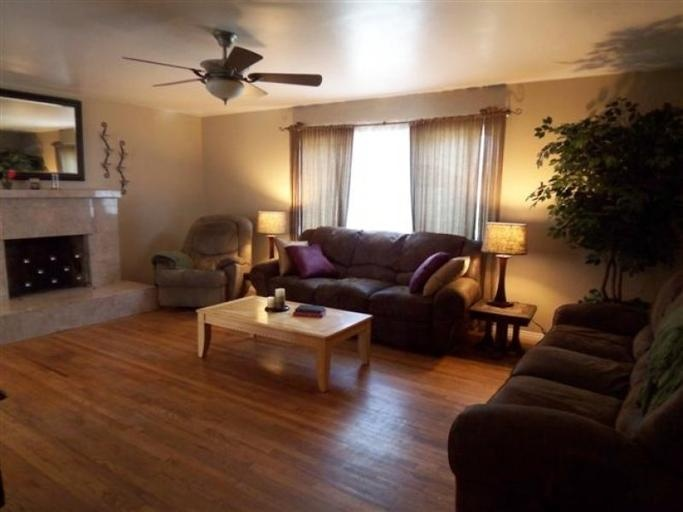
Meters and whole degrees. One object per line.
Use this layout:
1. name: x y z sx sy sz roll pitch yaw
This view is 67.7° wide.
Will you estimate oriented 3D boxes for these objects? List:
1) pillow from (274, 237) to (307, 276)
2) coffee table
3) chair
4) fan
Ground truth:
1. pillow: -0.639 0.005 5.948 0.446 0.395 0.137 1 -15 -24
2. coffee table: -0.503 0.710 4.594 1.375 0.572 0.726 6 11 27
3. chair: -1.796 0.045 6.573 1.289 1.203 1.188 -1 -1 16
4. fan: -0.916 -1.594 4.391 0.877 0.499 1.371 -4 11 -31
